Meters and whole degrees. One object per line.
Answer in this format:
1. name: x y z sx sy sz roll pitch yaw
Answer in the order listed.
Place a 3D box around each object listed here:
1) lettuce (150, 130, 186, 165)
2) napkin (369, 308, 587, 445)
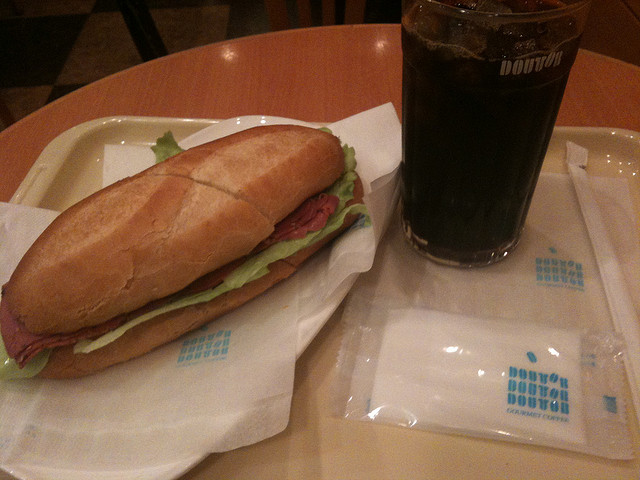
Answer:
1. lettuce: -0.442 -0.272 1.508 0.103 0.152 0.038 16 77 -13
2. napkin: 0.343 0.296 1.173 0.503 0.071 0.327 4 49 17
